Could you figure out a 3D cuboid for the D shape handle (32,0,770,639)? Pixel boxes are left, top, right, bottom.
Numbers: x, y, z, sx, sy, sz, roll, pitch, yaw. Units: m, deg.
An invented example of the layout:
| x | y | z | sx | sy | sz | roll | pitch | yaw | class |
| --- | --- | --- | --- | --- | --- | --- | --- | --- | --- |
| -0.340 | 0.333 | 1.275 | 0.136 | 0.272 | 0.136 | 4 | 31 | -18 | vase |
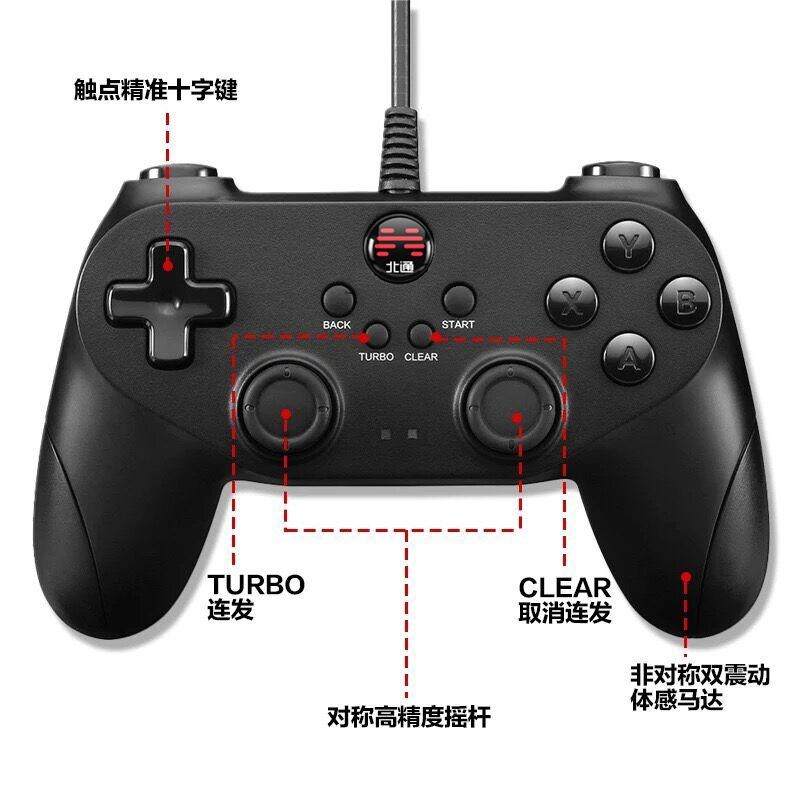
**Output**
| x | y | z | sx | sy | sz | roll | pitch | yaw | class |
| --- | --- | --- | --- | --- | --- | --- | --- | --- | --- |
| -0.001 | -0.030 | 1.092 | 0.902 | 0.267 | 0.633 | 0 | 70 | -1 | D shape handle |
